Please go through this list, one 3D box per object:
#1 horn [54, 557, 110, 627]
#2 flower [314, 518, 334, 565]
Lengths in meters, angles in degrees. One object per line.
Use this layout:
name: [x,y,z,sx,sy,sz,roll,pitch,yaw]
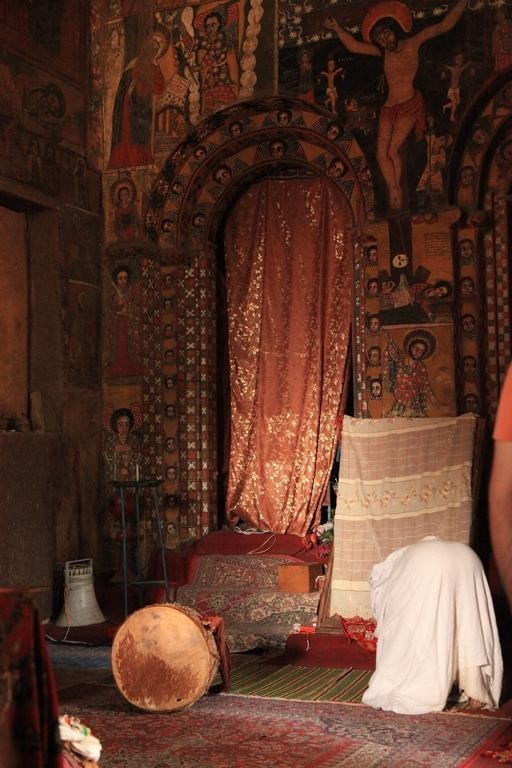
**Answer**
horn: [-1.535,1.758,6.836,0.457,0.514,0.485,-9,-8,26]
flower: [0.576,1.311,6.629,0.143,0.299,0.247,7,-11,-44]
